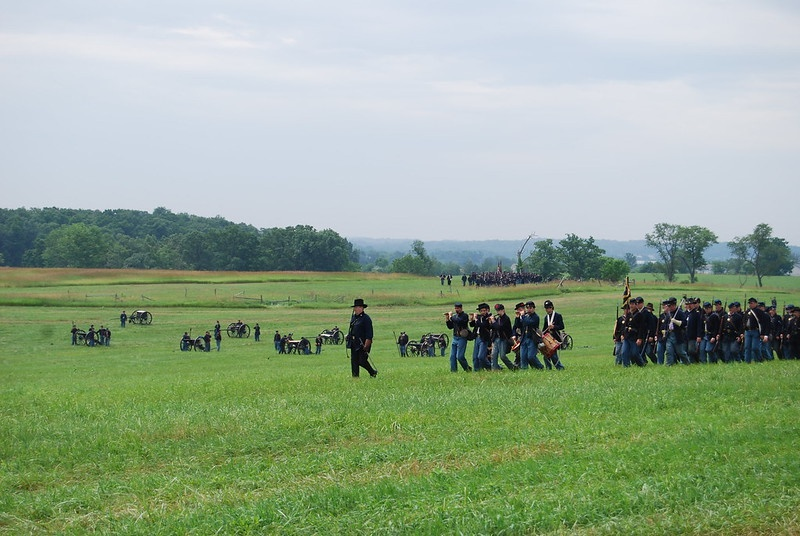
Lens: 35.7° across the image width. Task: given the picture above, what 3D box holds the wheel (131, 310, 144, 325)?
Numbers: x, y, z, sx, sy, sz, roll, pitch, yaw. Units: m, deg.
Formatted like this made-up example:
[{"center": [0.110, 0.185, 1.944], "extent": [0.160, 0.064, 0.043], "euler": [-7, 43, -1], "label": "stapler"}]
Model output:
[{"center": [-18.497, 3.412, 87.737], "extent": [1.098, 0.691, 0.758], "euler": [1, -1, -6], "label": "wheel"}]

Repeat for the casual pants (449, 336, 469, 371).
[{"center": [2.706, 3.893, 56.747], "extent": [0.856, 1.571, 2.008], "euler": [-1, -2, 2], "label": "casual pants"}]

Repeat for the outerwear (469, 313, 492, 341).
[{"center": [3.696, 2.670, 56.568], "extent": [0.938, 1.279, 1.015], "euler": [14, -18, -40], "label": "outerwear"}]

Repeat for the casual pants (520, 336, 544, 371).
[{"center": [6.019, 3.693, 56.316], "extent": [0.989, 2.255, 0.816], "euler": [11, 32, 23], "label": "casual pants"}]

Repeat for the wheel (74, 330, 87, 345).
[{"center": [-19.800, 4.317, 77.143], "extent": [0.324, 0.841, 0.918], "euler": [-17, 2, 42], "label": "wheel"}]

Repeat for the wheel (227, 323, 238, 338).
[{"center": [-11.215, 4.161, 83.440], "extent": [0.925, 0.828, 0.944], "euler": [1, -2, 0], "label": "wheel"}]

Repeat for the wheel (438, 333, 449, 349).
[{"center": [2.361, 4.163, 71.194], "extent": [0.889, 0.842, 0.483], "euler": [-1, 8, -31], "label": "wheel"}]

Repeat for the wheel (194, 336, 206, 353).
[{"center": [-12.166, 4.578, 75.212], "extent": [0.942, 0.828, 0.868], "euler": [5, 4, 0], "label": "wheel"}]

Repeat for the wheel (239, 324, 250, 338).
[{"center": [-10.504, 4.208, 83.716], "extent": [0.951, 0.842, 0.827], "euler": [-1, 2, 2], "label": "wheel"}]

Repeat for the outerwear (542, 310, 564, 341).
[{"center": [6.977, 2.646, 56.694], "extent": [0.834, 1.362, 0.797], "euler": [-1, -2, 12], "label": "outerwear"}]

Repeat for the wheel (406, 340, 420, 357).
[{"center": [0.702, 4.507, 70.019], "extent": [0.907, 0.768, 0.800], "euler": [2, 21, 15], "label": "wheel"}]
